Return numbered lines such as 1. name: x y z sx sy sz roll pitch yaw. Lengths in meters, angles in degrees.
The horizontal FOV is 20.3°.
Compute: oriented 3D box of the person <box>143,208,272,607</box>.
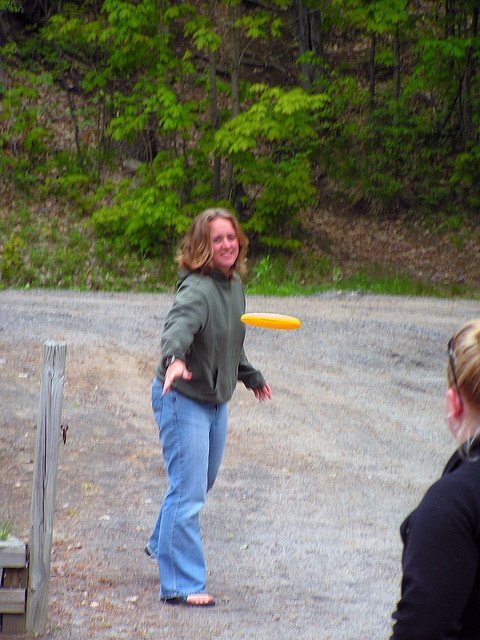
1. person: -0.380 0.861 13.008 0.974 3.673 0.734 -5 12 -28
